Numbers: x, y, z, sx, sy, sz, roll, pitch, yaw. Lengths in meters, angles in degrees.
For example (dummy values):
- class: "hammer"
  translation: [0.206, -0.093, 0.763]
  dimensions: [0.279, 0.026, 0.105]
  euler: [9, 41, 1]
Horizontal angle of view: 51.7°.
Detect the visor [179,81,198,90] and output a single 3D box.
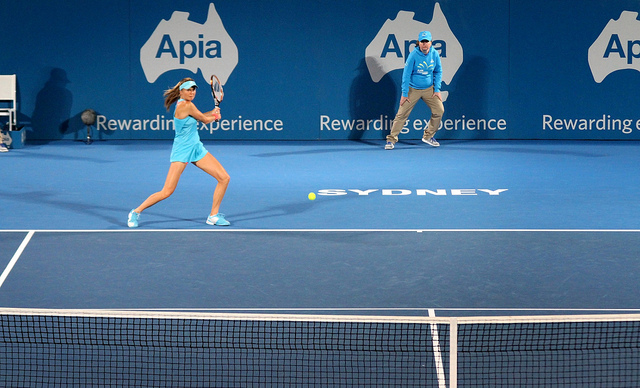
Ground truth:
- class: "visor"
  translation: [-2.094, -1.725, 10.453]
  dimensions: [0.265, 0.141, 0.193]
  euler: [3, 7, -9]
